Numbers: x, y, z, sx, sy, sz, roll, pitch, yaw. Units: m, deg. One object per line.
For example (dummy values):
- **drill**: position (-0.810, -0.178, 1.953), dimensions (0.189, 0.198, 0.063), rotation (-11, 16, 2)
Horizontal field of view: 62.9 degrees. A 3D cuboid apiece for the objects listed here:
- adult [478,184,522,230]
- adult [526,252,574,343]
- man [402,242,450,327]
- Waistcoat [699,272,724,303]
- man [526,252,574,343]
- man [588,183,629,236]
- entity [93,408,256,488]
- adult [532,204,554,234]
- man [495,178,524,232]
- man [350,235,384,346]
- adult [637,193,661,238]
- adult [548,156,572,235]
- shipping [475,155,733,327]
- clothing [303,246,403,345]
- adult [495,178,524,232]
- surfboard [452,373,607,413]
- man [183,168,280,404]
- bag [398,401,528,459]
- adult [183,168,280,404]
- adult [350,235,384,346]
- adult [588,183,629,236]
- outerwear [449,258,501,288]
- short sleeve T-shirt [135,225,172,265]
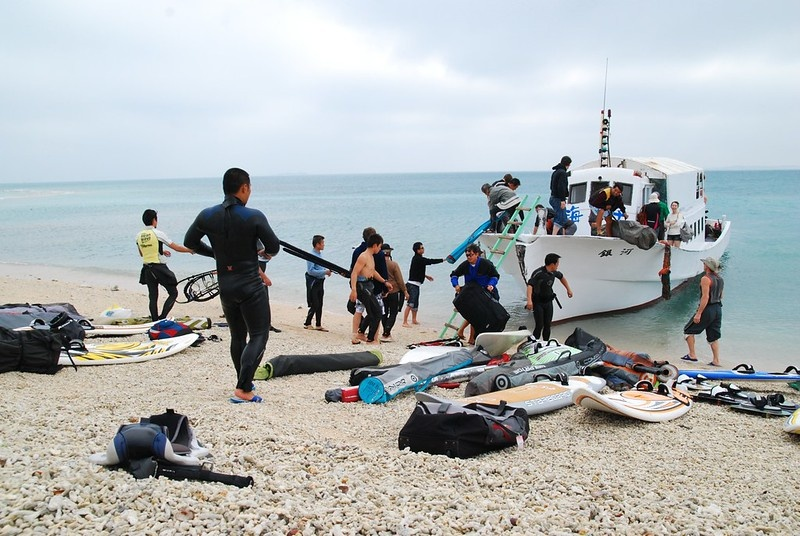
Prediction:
- **adult**: position (2.268, -1.322, 14.729), dimensions (0.551, 1.073, 1.102), rotation (-7, 10, -36)
- **adult**: position (2.850, 0.604, 12.780), dimensions (0.962, 1.770, 0.582), rotation (-7, 11, -35)
- **man**: position (0.790, 0.550, 19.511), dimensions (1.825, 2.727, 1.137), rotation (-8, 43, -6)
- **Waistcoat**: position (5.867, 0.382, 12.183), dimensions (0.611, 0.622, 0.261), rotation (-7, 11, -37)
- **man**: position (2.841, 0.577, 12.761), dimensions (0.933, 1.711, 0.577), rotation (-6, 10, -33)
- **man**: position (4.883, -1.330, 15.404), dimensions (0.747, 1.158, 1.700), rotation (2, 8, 16)
- **entity**: position (-2.429, 1.913, 6.818), dimensions (1.158, 0.420, 0.865), rotation (12, -6, -36)
- **adult**: position (3.643, -1.223, 16.558), dimensions (0.455, 0.555, 0.959), rotation (-15, -5, -4)
- **man**: position (2.431, -1.369, 14.619), dimensions (0.480, 0.349, 1.364), rotation (7, 27, 26)
- **man**: position (-0.624, 0.486, 12.745), dimensions (0.997, 2.708, 0.820), rotation (-2, 38, -4)
- **adult**: position (6.277, -1.272, 16.318), dimensions (0.533, 1.185, 0.623), rotation (7, 12, 43)
- **adult**: position (3.720, -1.637, 15.267), dimensions (0.457, 1.794, 1.751), rotation (1, 9, 13)
- **shipping**: position (5.885, -0.971, 18.646), dimensions (3.773, 3.614, 11.726), rotation (1, 5, 39)
- **clothing**: position (-1.051, 0.696, 14.435), dimensions (1.238, 2.882, 1.260), rotation (-2, 26, -2)
- **adult**: position (2.431, -1.369, 14.619), dimensions (0.480, 0.349, 1.364), rotation (7, 27, 26)
- **surfboard**: position (1.959, 1.763, 9.118), dimensions (2.581, 0.315, 0.726), rotation (-3, 16, -42)
- **man**: position (-2.160, 0.249, 8.550), dimensions (1.331, 2.824, 1.179), rotation (1, 4, -2)
- **bag**: position (0.672, 1.925, 7.765), dimensions (0.974, 0.319, 0.822), rotation (0, -2, 23)
- **adult**: position (-2.159, 0.217, 8.559), dimensions (1.393, 2.890, 1.214), rotation (1, 5, 0)
- **adult**: position (-0.624, 0.486, 12.745), dimensions (0.997, 2.708, 0.820), rotation (-2, 38, -4)
- **adult**: position (4.883, -1.330, 15.404), dimensions (0.747, 1.158, 1.700), rotation (2, 8, 16)
- **outerwear**: position (1.465, 0.248, 12.672), dimensions (0.971, 0.688, 0.570), rotation (3, 23, 24)
- **short sleeve T-shirt**: position (-4.523, -0.415, 12.062), dimensions (0.635, 0.669, 0.349), rotation (0, 9, 5)
